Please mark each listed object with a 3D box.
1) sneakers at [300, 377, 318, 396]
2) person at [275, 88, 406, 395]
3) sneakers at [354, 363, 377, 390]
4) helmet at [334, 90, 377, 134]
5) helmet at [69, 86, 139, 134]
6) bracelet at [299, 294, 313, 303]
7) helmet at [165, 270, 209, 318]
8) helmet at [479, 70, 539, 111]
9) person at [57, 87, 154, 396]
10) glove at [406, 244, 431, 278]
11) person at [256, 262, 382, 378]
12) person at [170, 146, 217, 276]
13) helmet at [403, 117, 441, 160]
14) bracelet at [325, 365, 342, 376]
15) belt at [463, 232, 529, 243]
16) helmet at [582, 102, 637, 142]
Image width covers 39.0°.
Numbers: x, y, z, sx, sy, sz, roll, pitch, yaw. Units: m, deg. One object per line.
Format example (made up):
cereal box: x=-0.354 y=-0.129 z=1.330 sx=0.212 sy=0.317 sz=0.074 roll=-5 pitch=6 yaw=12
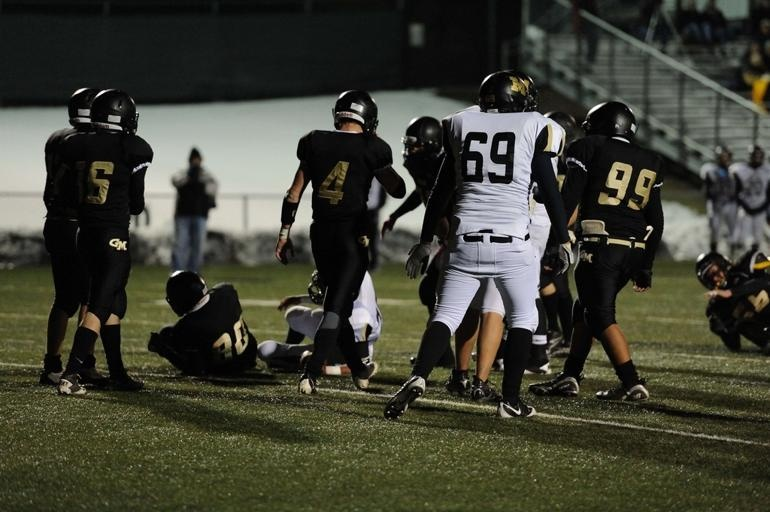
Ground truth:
sneakers: x=-0.678 y=1.128 z=9.520 sx=0.163 sy=0.203 sz=0.218 roll=-1 pitch=11 yaw=-6
person: x=-0.395 y=-0.111 z=9.667 sx=1.015 sy=2.651 sz=0.718 roll=-4 pitch=12 yaw=-22
sneakers: x=-0.171 y=1.061 z=9.897 sx=0.119 sy=0.140 sz=0.316 roll=-1 pitch=40 yaw=34
helmet: x=-0.216 y=-1.282 z=9.788 sx=0.350 sy=0.354 sz=0.401 roll=15 pitch=2 yaw=15
helmet: x=-2.509 y=-1.295 z=9.590 sx=0.414 sy=0.399 sz=0.557 roll=15 pitch=15 yaw=36
bracelet: x=-0.749 y=0.407 z=10.313 sx=0.106 sy=0.041 sz=0.126 roll=0 pitch=-12 yaw=1
helmet: x=-1.844 y=0.317 z=10.030 sx=0.377 sy=0.402 sz=0.420 roll=-8 pitch=18 yaw=-20
helmet: x=1.007 y=-1.367 z=9.062 sx=0.429 sy=0.310 sz=0.342 roll=-26 pitch=24 yaw=-26
person: x=-2.483 y=-0.130 z=9.538 sx=0.956 sy=2.590 sz=0.661 roll=-9 pitch=14 yaw=-39
glove: x=0.281 y=0.038 z=9.264 sx=0.188 sy=0.354 sz=0.470 roll=1 pitch=11 yaw=1
person: x=-0.611 y=0.455 z=10.559 sx=1.226 sy=1.397 sz=0.833 roll=4 pitch=-6 yaw=-19
person: x=-3.095 y=-0.688 z=17.628 sx=0.693 sy=2.061 sz=1.182 roll=-2 pitch=11 yaw=-11
helmet: x=0.372 y=-1.141 z=10.595 sx=0.446 sy=0.454 sz=0.395 roll=3 pitch=9 yaw=18
bracelet: x=-0.484 y=1.083 z=10.280 sx=0.130 sy=0.043 sz=0.096 roll=0 pitch=-1 yaw=24
belt: x=0.892 y=-0.148 z=8.854 sx=0.525 sy=0.086 sz=0.081 roll=0 pitch=11 yaw=-2
helmet: x=2.022 y=-1.199 z=9.784 sx=0.357 sy=0.322 sz=0.402 roll=3 pitch=35 yaw=-16
